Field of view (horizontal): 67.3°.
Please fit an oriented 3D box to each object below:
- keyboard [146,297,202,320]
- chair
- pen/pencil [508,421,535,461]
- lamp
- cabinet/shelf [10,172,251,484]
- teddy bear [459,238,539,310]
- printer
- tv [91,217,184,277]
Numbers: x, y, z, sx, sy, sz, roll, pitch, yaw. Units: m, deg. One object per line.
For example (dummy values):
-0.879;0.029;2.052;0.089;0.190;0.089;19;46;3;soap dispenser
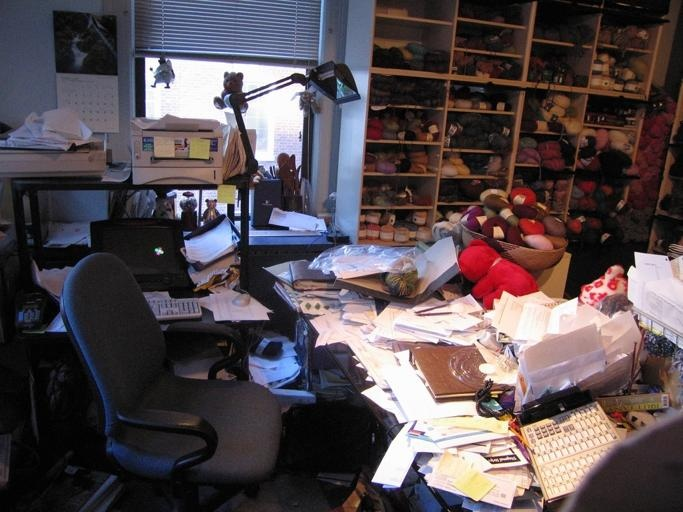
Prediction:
-0.772;0.245;2.387;0.197;0.042;0.135;0;30;-26;keyboard
-0.547;0.480;2.019;0.749;1.026;0.684;0;16;-10;chair
0.549;0.563;1.568;0.022;0.017;0.131;30;20;-26;pen/pencil
-0.335;-0.214;2.936;0.959;1.895;0.618;-3;17;-17;lamp
-0.803;0.303;3.001;1.534;1.478;1.117;-1;3;-13;cabinet/shelf
0.701;0.074;2.419;0.276;0.138;0.351;-24;46;-29;teddy bear
-0.766;-0.491;2.409;0.410;0.321;0.101;-3;17;-13;printer
-0.996;-0.064;2.565;0.457;0.292;0.191;-2;16;-35;tv
